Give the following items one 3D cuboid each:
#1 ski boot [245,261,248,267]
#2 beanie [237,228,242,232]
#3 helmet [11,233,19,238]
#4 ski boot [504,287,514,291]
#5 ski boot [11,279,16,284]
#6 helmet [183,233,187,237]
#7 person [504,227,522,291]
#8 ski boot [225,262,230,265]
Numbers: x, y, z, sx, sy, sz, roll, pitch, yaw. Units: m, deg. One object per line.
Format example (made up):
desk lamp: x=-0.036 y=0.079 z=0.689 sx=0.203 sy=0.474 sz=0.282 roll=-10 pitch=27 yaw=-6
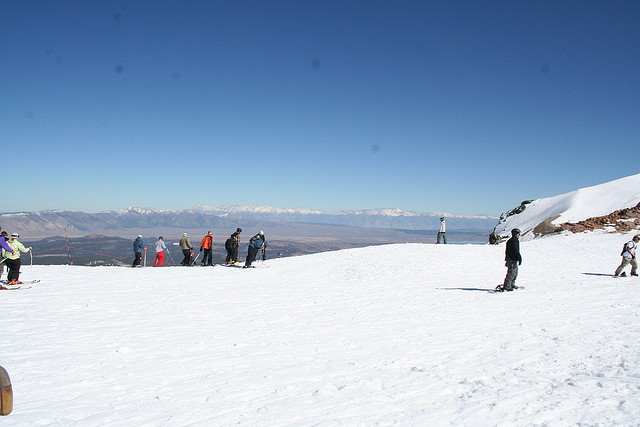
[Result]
ski boot: x=-4.679 y=3.167 z=27.536 sx=0.119 sy=0.368 sz=0.415 roll=2 pitch=-3 yaw=-23
beanie: x=-4.932 y=0.981 z=26.596 sx=0.273 sy=0.275 sz=0.319 roll=4 pitch=16 yaw=8
helmet: x=-13.064 y=0.894 z=18.604 sx=0.283 sy=0.270 sz=0.306 roll=2 pitch=-21 yaw=-27
ski boot: x=8.020 y=3.155 z=18.243 sx=0.420 sy=0.130 sz=0.145 roll=1 pitch=-3 yaw=-17
ski boot: x=-13.420 y=2.952 z=18.945 sx=0.161 sy=0.193 sz=0.067 roll=3 pitch=-4 yaw=-37
helmet: x=-8.587 y=1.322 z=27.694 sx=0.248 sy=0.117 sz=0.240 roll=-9 pitch=6 yaw=-40
person: x=8.008 y=1.907 z=17.990 sx=0.611 sy=2.606 sz=1.493 roll=0 pitch=-3 yaw=24
ski boot: x=-6.147 y=3.267 z=28.913 sx=0.307 sy=0.142 sz=0.387 roll=-3 pitch=-5 yaw=8
